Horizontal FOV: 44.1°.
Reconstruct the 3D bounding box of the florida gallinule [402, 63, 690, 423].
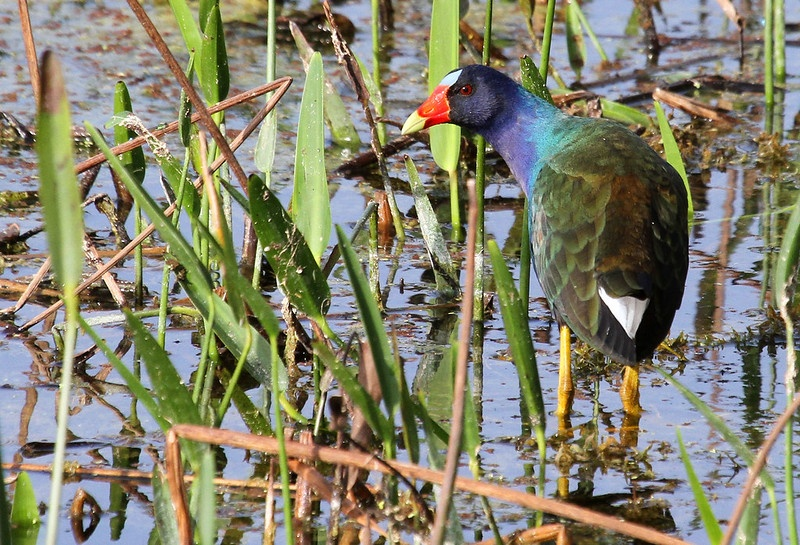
[{"bbox_3d":[0.706,-0.216,3.901,0.495,1.583,1.071,7,-13,-24],"label":"florida gallinule"}]
